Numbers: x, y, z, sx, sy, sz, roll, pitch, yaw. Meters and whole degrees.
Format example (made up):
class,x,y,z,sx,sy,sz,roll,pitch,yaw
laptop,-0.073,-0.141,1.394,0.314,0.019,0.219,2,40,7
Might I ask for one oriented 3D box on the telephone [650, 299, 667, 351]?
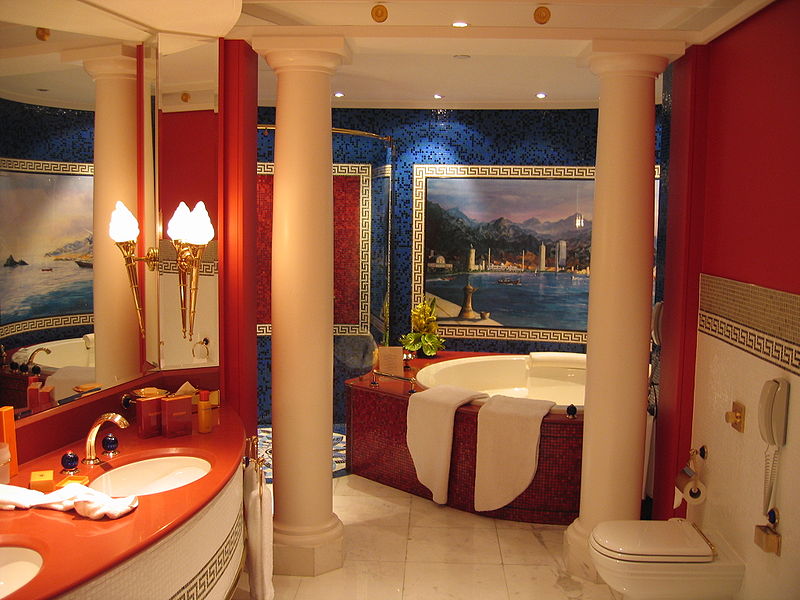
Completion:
class,x,y,z,sx,sy,sz,roll,pitch,yaw
telephone,1.469,0.136,3.455,0.061,0.287,0.138,3,9,15

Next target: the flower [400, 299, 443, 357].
class,x,y,z,sx,sy,sz,roll,pitch,yaw
flower,0.268,0.230,5.400,0.419,0.514,0.422,3,6,36

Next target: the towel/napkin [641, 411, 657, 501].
class,x,y,z,sx,sy,sz,roll,pitch,yaw
towel/napkin,1.476,0.924,3.581,0.048,0.633,0.162,3,9,15

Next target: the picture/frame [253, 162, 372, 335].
class,x,y,z,sx,sy,sz,roll,pitch,yaw
picture/frame,-0.691,-0.423,5.037,0.912,1.420,0.549,0,8,-4

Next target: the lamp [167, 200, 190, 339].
class,x,y,z,sx,sy,sz,roll,pitch,yaw
lamp,-1.103,-0.153,3.036,0.047,0.673,0.111,6,10,33

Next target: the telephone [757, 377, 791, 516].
class,x,y,z,sx,sy,sz,roll,pitch,yaw
telephone,1.555,0.610,2.578,0.114,0.595,0.127,-1,8,-9

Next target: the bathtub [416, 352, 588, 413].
class,x,y,z,sx,sy,sz,roll,pitch,yaw
bathtub,0.893,0.655,5.222,1.365,0.393,0.584,-1,9,-7
